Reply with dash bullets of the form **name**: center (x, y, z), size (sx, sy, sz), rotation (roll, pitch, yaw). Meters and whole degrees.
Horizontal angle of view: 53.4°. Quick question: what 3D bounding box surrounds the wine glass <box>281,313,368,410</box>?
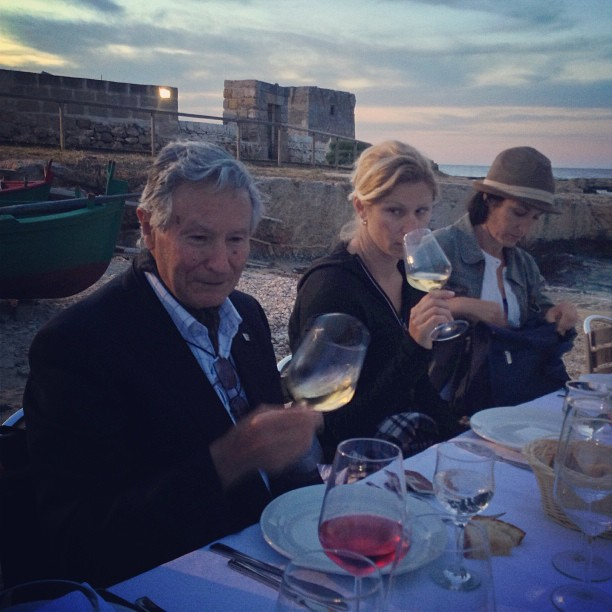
- **wine glass**: center (0.050, 0.134, 1.464), size (0.172, 0.186, 0.263), rotation (4, 13, 16)

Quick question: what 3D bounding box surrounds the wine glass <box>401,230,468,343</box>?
- **wine glass**: center (0.481, -0.055, 2.277), size (0.264, 0.475, 0.403), rotation (4, 13, 14)

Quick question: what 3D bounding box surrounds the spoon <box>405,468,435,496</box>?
- **spoon**: center (0.253, 0.379, 1.335), size (0.055, 0.023, 0.077), rotation (-8, 27, -18)

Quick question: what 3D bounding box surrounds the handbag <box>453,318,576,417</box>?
- **handbag**: center (0.961, 0.232, 2.715), size (0.616, 0.400, 0.279), rotation (-7, 19, -26)

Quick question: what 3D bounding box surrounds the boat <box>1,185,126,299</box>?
- **boat**: center (-3.387, -0.877, 8.884), size (0.898, 0.817, 2.192), rotation (4, 18, 29)

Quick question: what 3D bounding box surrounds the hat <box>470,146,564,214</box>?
- **hat**: center (1.118, -0.695, 3.190), size (0.435, 0.260, 0.505), rotation (-10, 26, -26)
